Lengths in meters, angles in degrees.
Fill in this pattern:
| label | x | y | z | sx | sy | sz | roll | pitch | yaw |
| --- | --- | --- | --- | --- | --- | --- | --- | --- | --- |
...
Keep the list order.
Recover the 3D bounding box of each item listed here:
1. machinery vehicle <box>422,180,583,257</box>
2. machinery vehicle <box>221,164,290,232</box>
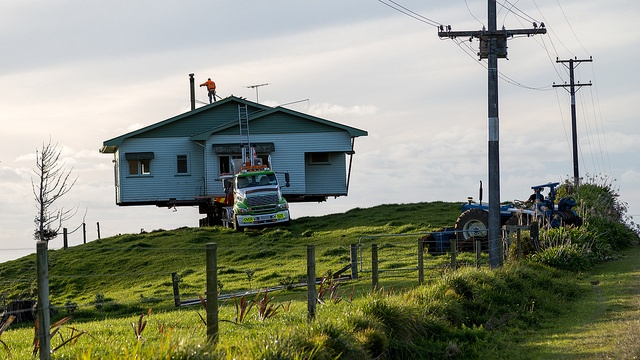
| label | x | y | z | sx | sy | sz | roll | pitch | yaw |
| --- | --- | --- | --- | --- | --- | --- | --- | --- | --- |
| machinery vehicle | 8.759 | 1.887 | 46.032 | 6.975 | 3.059 | 3.064 | -2 | -4 | -13 |
| machinery vehicle | -4.250 | 0.530 | 58.299 | 4.017 | 3.243 | 7.108 | -7 | 12 | -14 |
